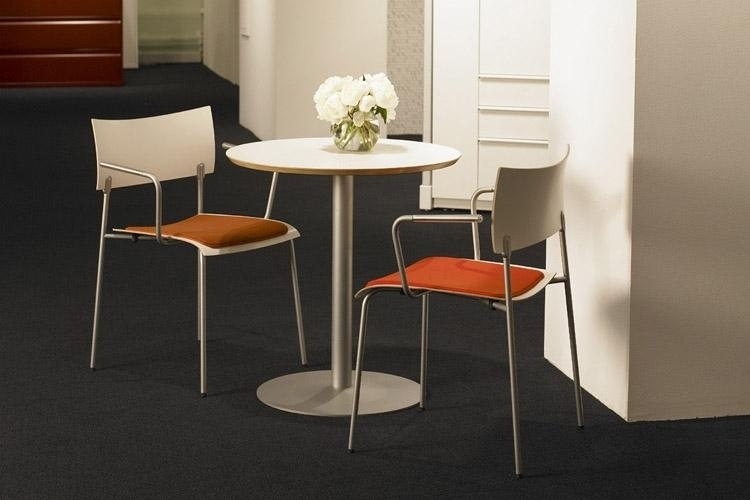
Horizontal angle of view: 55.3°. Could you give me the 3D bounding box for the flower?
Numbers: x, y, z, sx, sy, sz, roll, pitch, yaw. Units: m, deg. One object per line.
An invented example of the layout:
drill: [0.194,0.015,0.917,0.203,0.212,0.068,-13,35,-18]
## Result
flower: [-0.091,-0.660,3.449,0.383,0.362,0.237,-1,12,-6]
